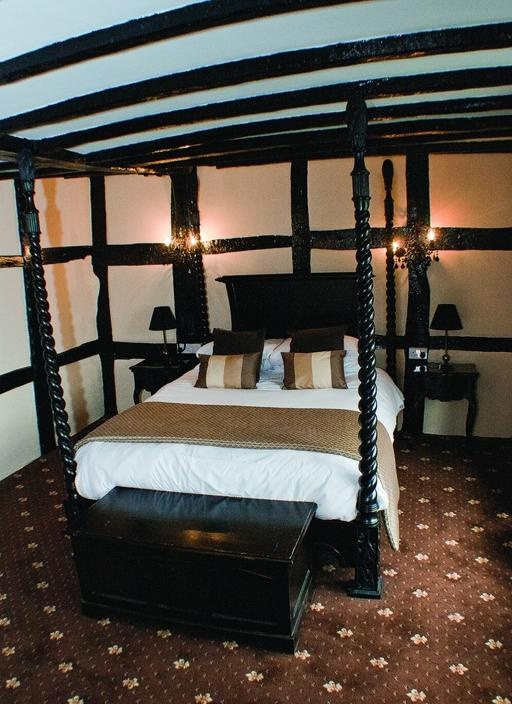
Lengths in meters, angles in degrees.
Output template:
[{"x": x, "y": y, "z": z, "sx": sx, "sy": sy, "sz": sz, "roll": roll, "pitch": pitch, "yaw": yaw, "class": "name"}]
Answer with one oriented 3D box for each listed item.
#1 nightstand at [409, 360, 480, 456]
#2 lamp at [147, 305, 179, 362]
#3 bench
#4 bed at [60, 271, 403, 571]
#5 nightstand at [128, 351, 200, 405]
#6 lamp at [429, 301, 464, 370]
[{"x": 1.779, "y": 0.491, "z": 5.308, "sx": 0.623, "sy": 0.617, "sz": 0.542, "roll": 0, "pitch": 0, "yaw": 29, "class": "nightstand"}, {"x": -0.961, "y": -0.194, "z": 5.893, "sx": 0.317, "sy": 0.558, "sz": 0.318, "roll": -2, "pitch": 8, "yaw": 17, "class": "lamp"}, {"x": -0.271, "y": 0.799, "z": 2.934, "sx": 1.158, "sy": 0.559, "sz": 0.635, "roll": 0, "pitch": 5, "yaw": 22, "class": "bench"}, {"x": 0.018, "y": 0.207, "z": 4.504, "sx": 2.007, "sy": 1.553, "sz": 2.529, "roll": 1, "pitch": 16, "yaw": 20, "class": "bed"}, {"x": -1.001, "y": 0.195, "z": 6.085, "sx": 0.731, "sy": 0.728, "sz": 0.547, "roll": 3, "pitch": 21, "yaw": 14, "class": "nightstand"}, {"x": 1.757, "y": -0.159, "z": 5.197, "sx": 0.278, "sy": 0.593, "sz": 0.396, "roll": 1, "pitch": 12, "yaw": 20, "class": "lamp"}]
